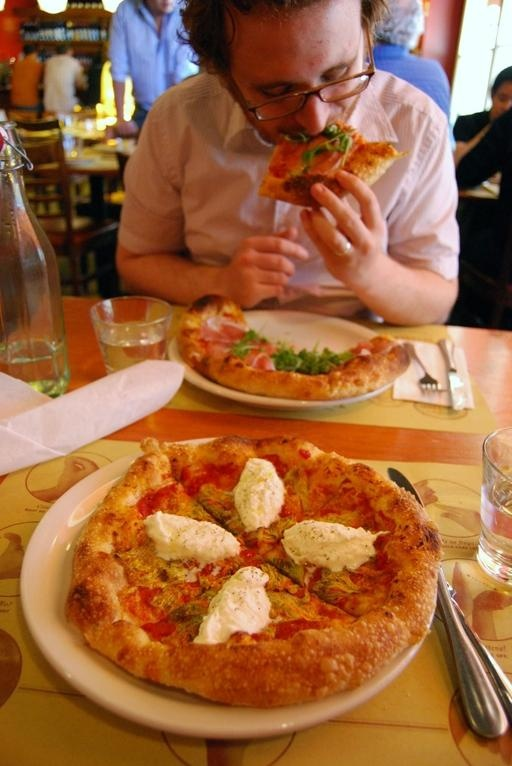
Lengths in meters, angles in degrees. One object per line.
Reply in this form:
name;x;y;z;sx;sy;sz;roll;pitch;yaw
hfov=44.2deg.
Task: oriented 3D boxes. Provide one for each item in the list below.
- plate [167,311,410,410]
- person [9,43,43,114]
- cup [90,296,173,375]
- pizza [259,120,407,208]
plate;0.061;-0.038;1.300;0.324;0.090;0.307;5;28;-13
person;-2.930;-3.810;8.046;0.426;0.631;0.708;-4;26;-19
cup;-0.266;-0.085;1.335;0.184;0.151;0.170;-5;-10;-1
pizza;0.170;-0.511;1.465;0.241;0.040;0.236;-19;42;-12
